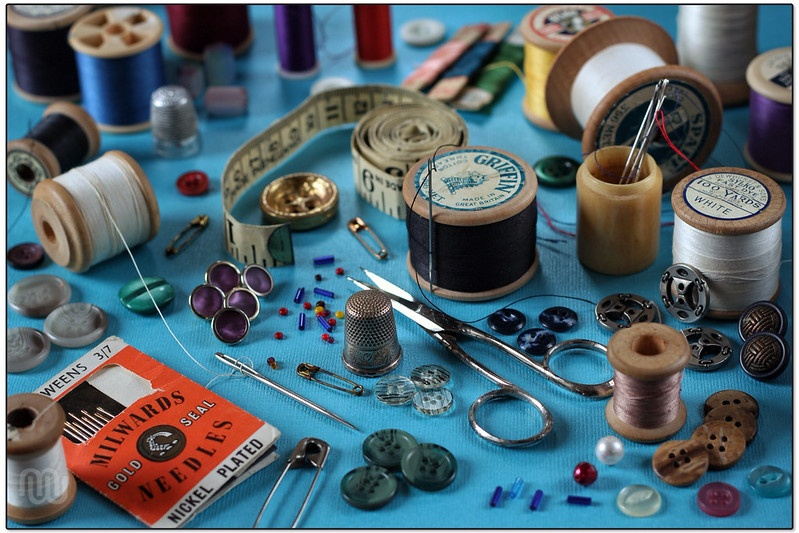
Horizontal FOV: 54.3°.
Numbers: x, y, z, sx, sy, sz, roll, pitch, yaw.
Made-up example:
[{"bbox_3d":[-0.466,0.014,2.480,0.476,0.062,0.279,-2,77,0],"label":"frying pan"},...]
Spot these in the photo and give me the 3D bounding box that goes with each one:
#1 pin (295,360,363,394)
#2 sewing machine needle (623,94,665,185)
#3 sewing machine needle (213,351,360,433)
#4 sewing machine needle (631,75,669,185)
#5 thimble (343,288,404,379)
[{"bbox_3d":[-0.562,0.885,6.132,0.546,0.145,0.067,20,-54,14],"label":"pin"},{"bbox_3d":[1.997,-1.014,6.500,0.251,0.340,0.891,22,-52,51],"label":"sewing machine needle"},{"bbox_3d":[-0.941,0.950,6.089,1.548,0.074,0.114,20,-2,33],"label":"sewing machine needle"},{"bbox_3d":[2.140,-1.208,6.704,0.114,0.158,1.098,-137,-124,-63],"label":"sewing machine needle"},{"bbox_3d":[-0.239,0.504,6.183,0.487,0.504,0.561,28,-50,46],"label":"thimble"}]
